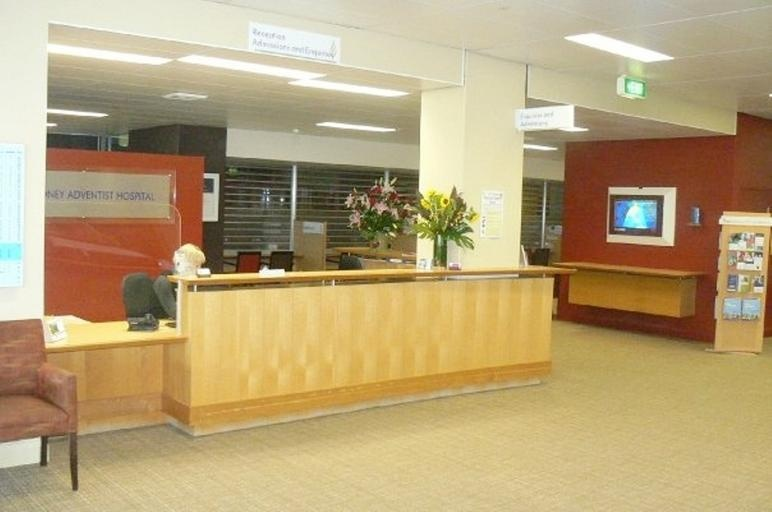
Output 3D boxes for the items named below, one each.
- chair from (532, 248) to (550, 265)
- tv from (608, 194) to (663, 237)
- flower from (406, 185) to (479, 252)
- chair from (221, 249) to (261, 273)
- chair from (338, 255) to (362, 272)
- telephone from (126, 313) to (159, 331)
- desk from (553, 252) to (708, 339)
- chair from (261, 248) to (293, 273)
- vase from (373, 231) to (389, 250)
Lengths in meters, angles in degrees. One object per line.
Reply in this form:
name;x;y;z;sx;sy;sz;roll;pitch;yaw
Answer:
chair;4.009;0.036;14.575;0.487;0.436;0.284;3;-10;-21
tv;5.122;-0.833;11.343;0.954;0.733;0.071;4;8;38
flower;0.776;-0.490;7.232;0.821;0.804;0.518;3;6;10
chair;-3.280;0.131;12.617;0.540;0.724;0.539;0;9;-7
chair;-0.660;0.133;10.404;0.359;0.386;0.323;1;1;12
telephone;-2.511;0.704;5.794;0.256;0.142;0.243;1;1;-2
desk;4.805;0.881;11.178;2.537;1.327;0.901;7;8;38
chair;-2.384;0.103;12.182;0.533;0.659;0.532;-2;10;-26
vase;-0.135;-0.340;12.477;0.358;0.311;0.340;2;-4;-35
